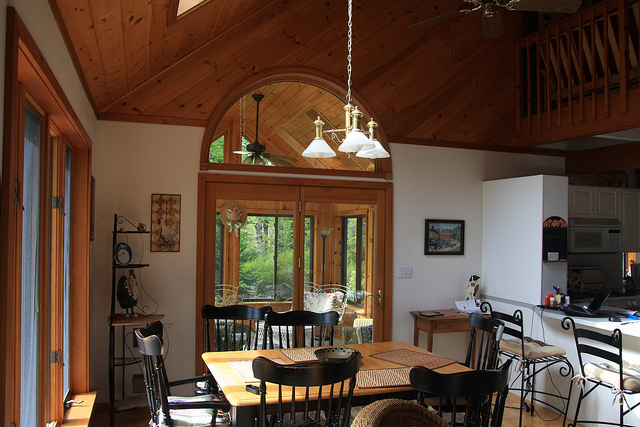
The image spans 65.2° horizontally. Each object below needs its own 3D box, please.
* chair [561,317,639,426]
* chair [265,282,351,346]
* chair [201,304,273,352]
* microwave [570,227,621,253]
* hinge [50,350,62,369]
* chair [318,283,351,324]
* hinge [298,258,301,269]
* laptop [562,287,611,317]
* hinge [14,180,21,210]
[{"bbox_3d":[2.846,1.422,4.902,0.651,1.144,0.763,3,-1,-9],"label":"chair"},{"bbox_3d":[-0.182,1.226,6.323,0.840,0.650,0.688,3,-1,-33],"label":"chair"},{"bbox_3d":[-0.860,1.062,5.091,0.686,0.500,0.612,3,-1,-20],"label":"chair"},{"bbox_3d":[3.466,0.311,6.536,0.854,0.426,0.409,1,-1,-19],"label":"microwave"},{"bbox_3d":[-2.327,1.287,4.409,0.162,0.114,0.278,3,-7,-25],"label":"hinge"},{"bbox_3d":[0.149,1.021,6.016,0.396,0.656,0.193,3,-1,-2],"label":"chair"},{"bbox_3d":[-0.247,0.612,6.112,0.033,0.122,0.010,0,-4,-22],"label":"hinge"},{"bbox_3d":[3.010,0.956,5.538,0.571,0.301,0.525,2,-7,-4],"label":"laptop"},{"bbox_3d":[-1.830,-0.123,3.025,0.013,0.165,0.066,0,-4,-13],"label":"hinge"}]
